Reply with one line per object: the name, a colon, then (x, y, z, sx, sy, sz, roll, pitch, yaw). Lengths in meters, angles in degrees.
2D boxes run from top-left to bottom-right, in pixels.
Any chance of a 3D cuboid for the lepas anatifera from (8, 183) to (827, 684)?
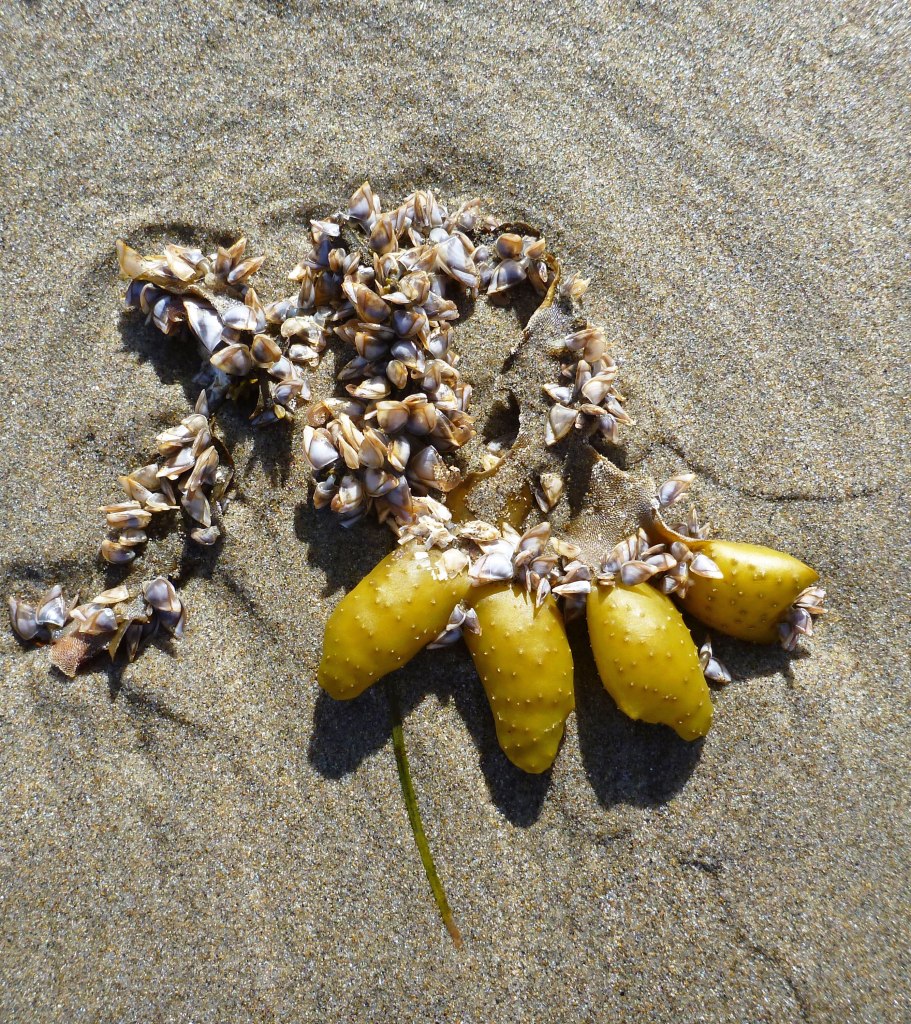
lepas anatifera: (-0.210, -0.215, 4.406, 1.852, 0.415, 1.605, -16, 79, -1)
